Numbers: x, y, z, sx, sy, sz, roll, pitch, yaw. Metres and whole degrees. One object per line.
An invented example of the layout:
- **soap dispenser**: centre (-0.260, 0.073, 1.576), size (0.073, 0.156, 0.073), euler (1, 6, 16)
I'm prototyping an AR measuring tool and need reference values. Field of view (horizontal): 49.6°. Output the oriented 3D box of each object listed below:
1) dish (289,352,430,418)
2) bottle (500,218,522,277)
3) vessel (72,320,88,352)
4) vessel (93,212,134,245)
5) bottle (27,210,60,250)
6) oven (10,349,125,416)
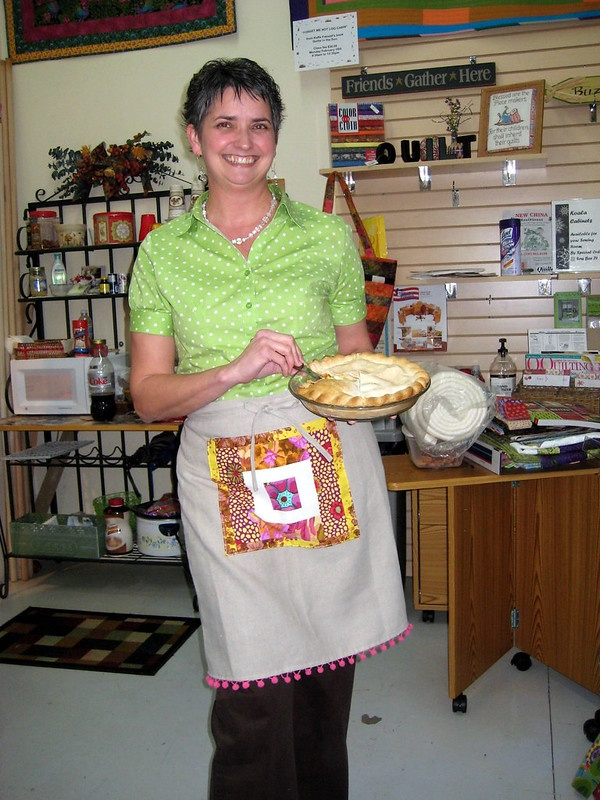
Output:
- **dish**: centre (0.076, -0.032, 1.205), size (0.307, 0.068, 0.301), euler (-8, 8, -4)
- **bottle**: centre (0.950, -0.686, 2.943), size (0.084, 0.256, 0.103), euler (-1, 5, 15)
- **vessel**: centre (-1.111, -0.318, 3.305), size (0.077, 0.177, 0.149), euler (-4, 5, -18)
- **vessel**: centre (-0.968, -0.899, 3.400), size (0.189, 0.132, 0.190), euler (10, 17, 34)
- **bottle**: centre (-1.376, -0.907, 3.501), size (0.212, 0.208, 0.207), euler (1, 10, 1)
- **oven**: centre (-1.199, -0.061, 3.253), size (0.465, 0.282, 0.320), euler (-1, 2, 13)
